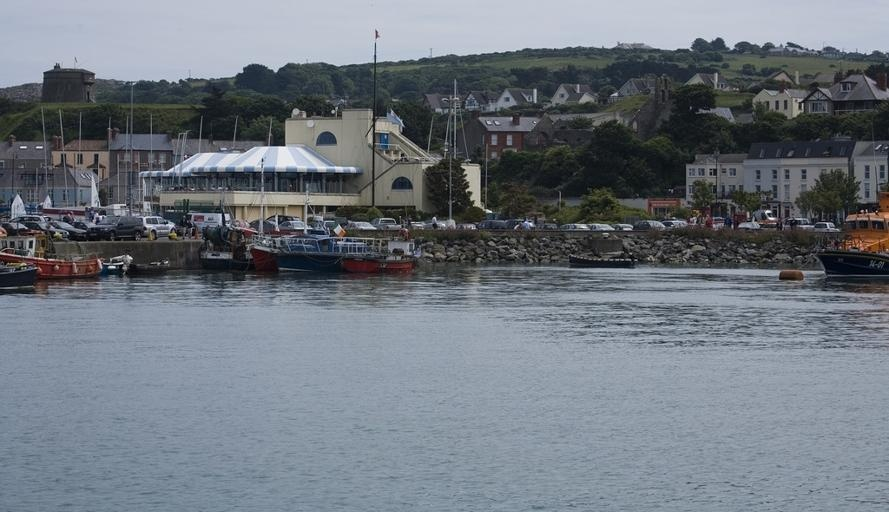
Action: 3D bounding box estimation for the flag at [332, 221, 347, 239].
[{"bbox_3d":[-11.731,-2.793,212.546,0.511,1.650,1.693,-3,38,-34],"label":"flag"}]

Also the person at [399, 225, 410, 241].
[{"bbox_3d":[-4.443,-2.380,214.524,1.268,1.526,0.612,1,0,15],"label":"person"}]
